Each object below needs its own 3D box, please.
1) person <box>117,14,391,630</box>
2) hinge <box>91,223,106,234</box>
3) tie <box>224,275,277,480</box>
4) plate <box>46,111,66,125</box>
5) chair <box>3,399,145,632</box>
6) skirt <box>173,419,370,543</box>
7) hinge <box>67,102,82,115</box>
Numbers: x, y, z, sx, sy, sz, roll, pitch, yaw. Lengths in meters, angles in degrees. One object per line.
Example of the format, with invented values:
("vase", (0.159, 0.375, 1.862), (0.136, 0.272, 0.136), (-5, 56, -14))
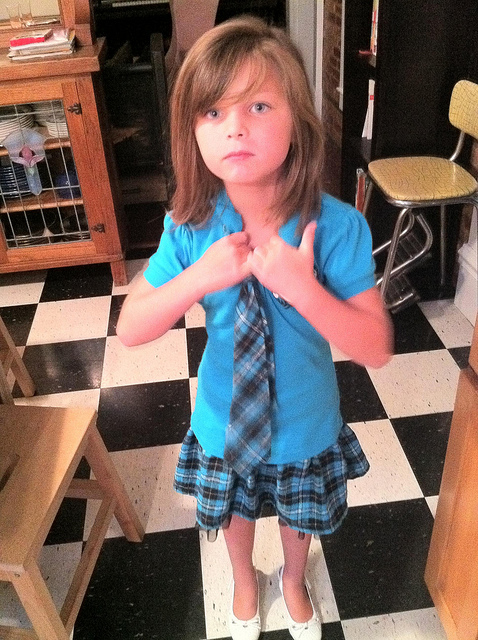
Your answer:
("person", (0.049, 0.155, 0.818), (0.378, 1.149, 0.320), (7, 33, 17))
("hinge", (-0.686, -0.447, 2.264), (0.039, 0.043, 0.010), (-1, 12, -12))
("tie", (0.013, 0.082, 0.633), (0.069, 0.303, 0.016), (2, 14, 13))
("plate", (-0.815, -0.892, 2.061), (0.091, 0.052, 0.017), (6, 33, 15))
("chair", (-0.356, 0.447, 1.008), (0.261, 0.392, 0.278), (2, 53, 2))
("skirt", (0.051, 0.263, 0.856), (0.321, 0.302, 0.199), (2, 14, -5))
("hinge", (-0.706, -0.906, 2.001), (0.061, 0.047, 0.020), (-15, 33, -15))
